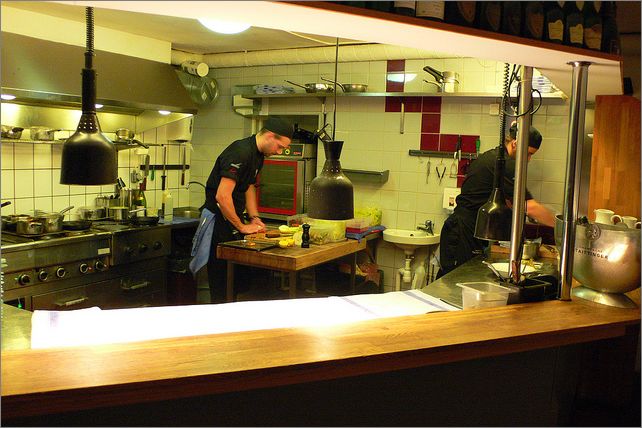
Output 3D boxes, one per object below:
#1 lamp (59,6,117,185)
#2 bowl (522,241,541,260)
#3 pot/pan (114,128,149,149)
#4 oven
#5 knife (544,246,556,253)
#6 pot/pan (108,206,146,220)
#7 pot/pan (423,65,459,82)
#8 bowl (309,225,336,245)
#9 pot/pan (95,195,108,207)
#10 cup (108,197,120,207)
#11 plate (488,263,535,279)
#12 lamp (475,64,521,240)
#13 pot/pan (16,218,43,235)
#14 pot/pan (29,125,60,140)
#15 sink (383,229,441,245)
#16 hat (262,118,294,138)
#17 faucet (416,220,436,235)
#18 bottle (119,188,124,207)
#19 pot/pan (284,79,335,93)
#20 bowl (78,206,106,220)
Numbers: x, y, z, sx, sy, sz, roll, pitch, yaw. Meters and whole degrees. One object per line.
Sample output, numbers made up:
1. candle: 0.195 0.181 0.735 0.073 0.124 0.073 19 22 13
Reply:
1. lamp: -1.108 -0.528 2.382 0.252 0.818 0.216 -2 11 -5
2. bowl: 1.500 0.265 3.675 0.167 0.112 0.166 0 -2 0
3. pot/pan: -1.941 -0.763 5.259 0.279 0.107 0.181 6 0 -3
4. oven: -0.431 -0.388 5.982 0.670 0.800 0.596 3 9 11
5. knife: 1.772 0.271 3.983 0.083 0.028 0.152 3 11 20
6. pot/pan: -1.973 -0.002 5.128 0.320 0.107 0.181 4 4 17
7. pot/pan: 1.199 -1.382 5.131 0.336 0.101 0.159 2 0 7
8. bowl: 0.008 0.190 4.450 0.169 0.098 0.170 0 1 0
9. pot/pan: -2.272 -0.129 5.329 0.164 0.106 0.049 1 11 11
10. cup: -2.135 -0.111 5.307 0.091 0.052 0.087 0 2 0
11. plate: 1.161 0.343 3.175 0.182 0.035 0.180 -4 5 -36
12. lamp: 0.989 -0.334 2.884 0.195 0.975 0.484 2 11 18
13. pot/pan: -2.380 0.113 4.199 0.165 0.060 0.117 4 3 37
14. pot/pan: -2.551 -0.728 4.716 0.209 0.088 0.120 5 4 27
15. sink: 0.953 0.282 5.442 0.584 0.166 0.350 2 10 16
16. hat: -0.382 -0.759 4.610 0.253 0.130 0.172 16 3 -9
17. faucet: 1.130 0.143 5.482 0.240 0.137 0.087 4 -4 -28
18. bottle: -2.058 -0.164 5.314 0.065 0.168 0.035 4 12 26
19. pot/pan: -0.070 -1.367 5.557 0.392 0.057 0.219 0 3 -44
20. bowl: -2.284 0.002 5.131 0.176 0.058 0.159 6 7 35
